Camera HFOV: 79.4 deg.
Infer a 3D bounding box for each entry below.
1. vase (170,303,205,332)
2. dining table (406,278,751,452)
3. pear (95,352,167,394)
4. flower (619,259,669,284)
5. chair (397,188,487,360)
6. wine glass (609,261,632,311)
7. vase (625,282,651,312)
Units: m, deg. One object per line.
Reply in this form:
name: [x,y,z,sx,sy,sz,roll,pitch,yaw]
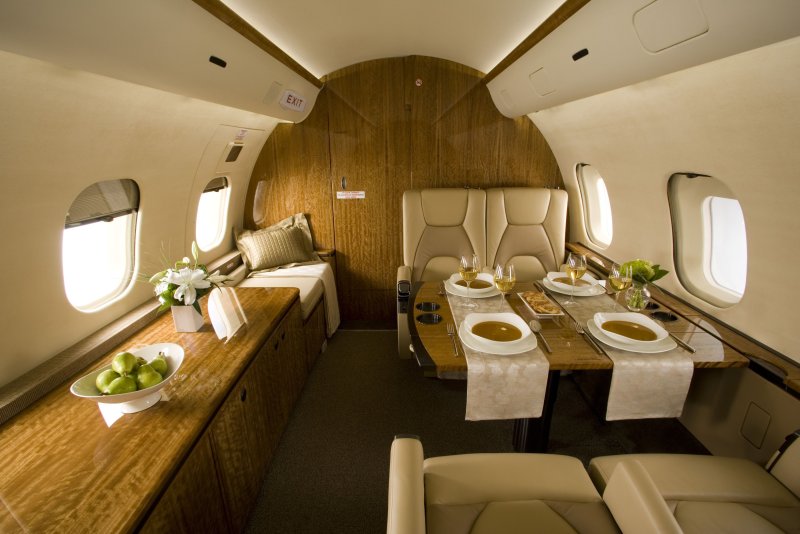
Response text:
vase: [-1.391,0.331,3.194,0.161,0.223,0.222,-1,15,-7]
dining table: [1.386,0.771,3.359,1.807,0.909,1.007,-1,29,-1]
pear: [-1.414,0.538,2.541,0.357,0.192,0.214,-12,13,-32]
flower: [1.597,0.024,3.155,0.253,0.103,0.212,-4,13,-7]
chair: [0.406,0.033,4.195,0.812,1.386,0.782,0,9,7]
wine glass: [1.462,0.142,3.167,0.130,0.336,0.145,2,38,16]
vase: [1.565,0.199,3.153,0.104,0.155,0.111,6,43,10]
